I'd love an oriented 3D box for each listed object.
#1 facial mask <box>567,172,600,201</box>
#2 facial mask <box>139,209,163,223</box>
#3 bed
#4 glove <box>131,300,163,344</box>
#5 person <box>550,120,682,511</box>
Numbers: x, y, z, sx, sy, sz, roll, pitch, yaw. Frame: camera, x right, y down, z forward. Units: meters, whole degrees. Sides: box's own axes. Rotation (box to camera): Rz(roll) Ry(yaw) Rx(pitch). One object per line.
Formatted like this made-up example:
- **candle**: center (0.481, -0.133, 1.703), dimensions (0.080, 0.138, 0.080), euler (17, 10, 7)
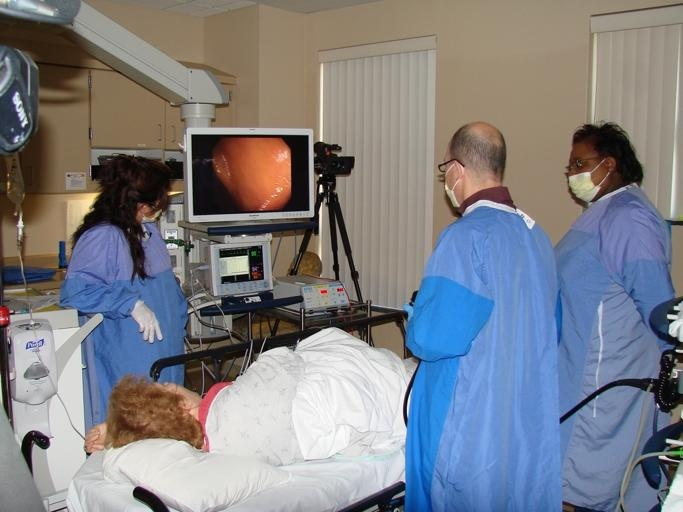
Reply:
- **facial mask**: center (1.130, -0.328, 2.807), dimensions (0.110, 0.106, 0.112), euler (-16, 5, 27)
- **facial mask**: center (-0.992, -0.202, 3.128), dimensions (0.080, 0.051, 0.068), euler (-9, 15, 30)
- **bed**: center (-0.287, 0.502, 2.482), dimensions (1.116, 0.558, 0.611), euler (-15, 19, -30)
- **glove**: center (-0.940, 0.335, 2.966), dimensions (0.059, 0.220, 0.133), euler (3, 30, 38)
- **person**: center (1.189, 0.293, 2.613), dimensions (0.501, 1.787, 0.538), euler (2, 4, 22)
